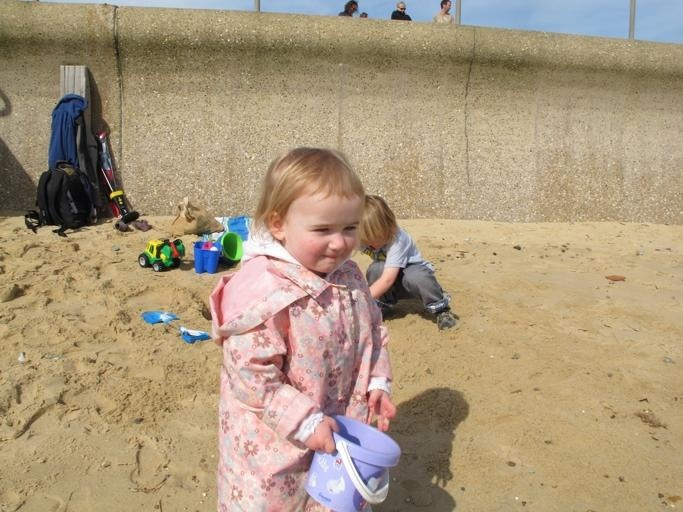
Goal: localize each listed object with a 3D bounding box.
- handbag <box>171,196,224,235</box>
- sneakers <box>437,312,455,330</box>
[{"bbox_3d":[-1.623,-0.523,7.272,0.458,0.353,0.475,12,11,15],"label":"handbag"},{"bbox_3d":[0.823,0.509,5.152,0.094,0.064,0.151,-39,7,-24],"label":"sneakers"}]
